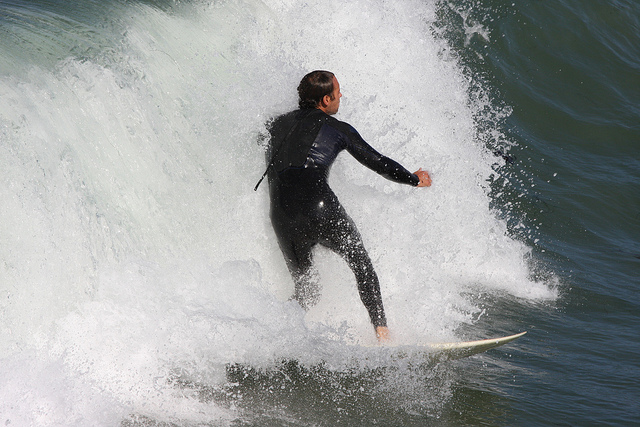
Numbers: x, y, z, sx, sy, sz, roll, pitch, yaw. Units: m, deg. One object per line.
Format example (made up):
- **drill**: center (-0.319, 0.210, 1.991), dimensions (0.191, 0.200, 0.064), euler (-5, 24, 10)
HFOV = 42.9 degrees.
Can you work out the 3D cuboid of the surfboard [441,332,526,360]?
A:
- **surfboard**: center (1.703, 1.405, 8.600), dimensions (0.779, 0.103, 0.084), euler (-15, 30, -5)
